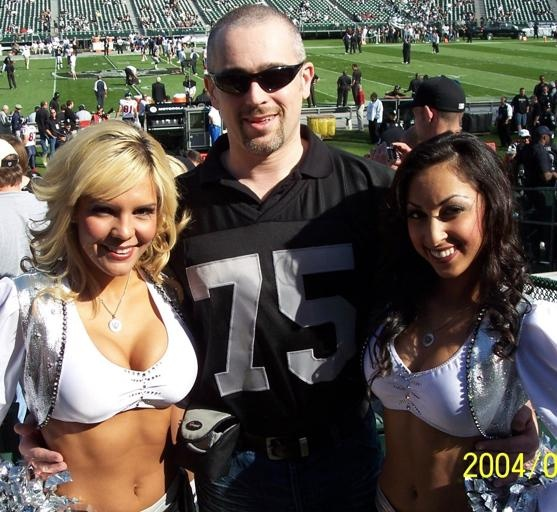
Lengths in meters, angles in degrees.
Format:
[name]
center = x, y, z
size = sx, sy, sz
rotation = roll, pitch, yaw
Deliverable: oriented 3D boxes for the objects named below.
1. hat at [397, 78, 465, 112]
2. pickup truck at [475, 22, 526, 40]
[hat]
center = 1.210, -1.270, 4.376
size = 0.400, 0.249, 0.301
rotation = 18, 24, 34
[pickup truck]
center = 21.291, -21.727, 53.720
size = 3.830, 1.499, 1.882
rotation = -2, 21, -3
